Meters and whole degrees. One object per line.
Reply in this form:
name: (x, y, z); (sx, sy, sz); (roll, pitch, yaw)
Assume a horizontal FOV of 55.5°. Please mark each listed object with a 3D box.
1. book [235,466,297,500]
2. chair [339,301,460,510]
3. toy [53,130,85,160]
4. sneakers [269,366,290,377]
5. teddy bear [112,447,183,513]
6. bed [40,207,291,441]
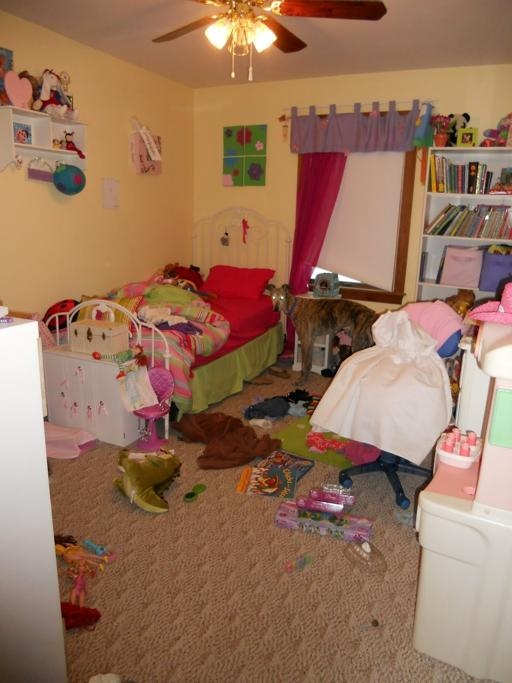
book: (0.069, 0.793, 2.771); (0.312, 0.025, 0.297); (4, 14, 8)
chair: (0.679, 0.363, 2.445); (0.570, 1.093, 0.967); (8, 16, 22)
toy: (-1.383, -1.453, 3.586); (0.298, 0.168, 0.108); (21, 33, 5)
sneakers: (0.224, 0.287, 4.542); (0.141, 0.046, 0.083); (14, 23, 28)
teddy bear: (-0.567, 0.694, 2.692); (0.299, 0.130, 0.440); (4, 1, 5)
bed: (-0.555, -0.369, 4.153); (1.191, 1.540, 2.709); (6, 15, 16)
